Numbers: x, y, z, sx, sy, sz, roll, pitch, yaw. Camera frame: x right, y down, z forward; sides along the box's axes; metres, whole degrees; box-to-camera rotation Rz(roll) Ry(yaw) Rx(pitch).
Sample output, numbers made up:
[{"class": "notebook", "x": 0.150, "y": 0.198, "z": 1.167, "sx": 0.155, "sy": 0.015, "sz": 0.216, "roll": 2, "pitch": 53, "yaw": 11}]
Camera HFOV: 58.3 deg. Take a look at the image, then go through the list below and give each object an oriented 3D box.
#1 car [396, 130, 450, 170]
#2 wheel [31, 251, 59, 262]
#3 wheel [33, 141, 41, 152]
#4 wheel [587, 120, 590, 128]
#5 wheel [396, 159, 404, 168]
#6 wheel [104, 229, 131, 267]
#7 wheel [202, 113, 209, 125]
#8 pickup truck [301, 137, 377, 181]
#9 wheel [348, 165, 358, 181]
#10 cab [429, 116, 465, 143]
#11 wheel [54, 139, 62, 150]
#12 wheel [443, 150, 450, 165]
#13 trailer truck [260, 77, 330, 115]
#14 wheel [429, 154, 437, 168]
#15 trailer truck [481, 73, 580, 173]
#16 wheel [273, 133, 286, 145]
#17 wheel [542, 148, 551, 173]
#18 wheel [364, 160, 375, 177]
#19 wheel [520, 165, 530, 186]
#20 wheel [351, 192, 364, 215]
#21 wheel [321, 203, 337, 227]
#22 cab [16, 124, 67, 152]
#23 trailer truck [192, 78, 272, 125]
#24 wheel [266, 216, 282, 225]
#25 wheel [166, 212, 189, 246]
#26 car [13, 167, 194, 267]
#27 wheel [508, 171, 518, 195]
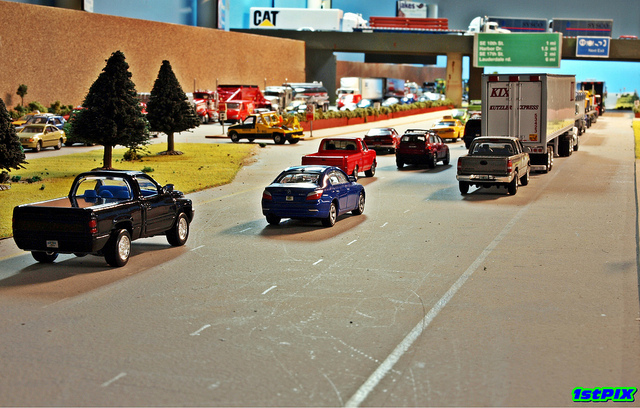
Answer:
[{"class": "car", "x": 6.131, "y": -3.383, "z": 34.040, "sx": 1.713, "sy": 1.620, "sz": 3.321, "roll": 3, "pitch": 14, "yaw": 23}, {"class": "wheel", "x": -6.865, "y": 1.273, "z": 14.400, "sx": 0.536, "sy": 0.368, "sz": 0.576, "roll": 0, "pitch": 11, "yaw": 0}, {"class": "wheel", "x": -19.109, "y": -3.923, "z": 38.940, "sx": 0.235, "sy": 0.765, "sz": 0.745, "roll": -1, "pitch": -2, "yaw": 9}, {"class": "wheel", "x": 29.806, "y": -8.948, "z": 63.971, "sx": 0.175, "sy": 0.791, "sz": 1.893, "roll": 5, "pitch": 12, "yaw": 26}, {"class": "wheel", "x": 4.683, "y": -2.406, "z": 33.619, "sx": 0.446, "sy": 0.533, "sz": 0.907, "roll": 1, "pitch": 11, "yaw": 7}, {"class": "wheel", "x": -4.930, "y": 1.048, "z": 13.994, "sx": 0.267, "sy": 0.863, "sz": 0.844, "roll": 1, "pitch": -7, "yaw": 19}, {"class": "wheel", "x": -12.391, "y": -9.343, "z": 63.128, "sx": 0.238, "sy": 0.989, "sz": 1.049, "roll": 11, "pitch": 27, "yaw": 4}, {"class": "pickup truck", "x": 0.911, "y": -2.267, "z": 27.921, "sx": 1.788, "sy": 1.526, "sz": 3.659, "roll": 3, "pitch": 12, "yaw": 24}, {"class": "wheel", "x": 1.461, "y": -1.432, "z": 25.701, "sx": 0.291, "sy": 0.880, "sz": 0.864, "roll": -2, "pitch": -4, "yaw": 29}, {"class": "cab", "x": 11.627, "y": -6.732, "z": 51.788, "sx": 2.274, "sy": 2.085, "sz": 4.946, "roll": 4, "pitch": 14, "yaw": 24}, {"class": "wheel", "x": -18.625, "y": -4.265, "z": 40.933, "sx": 0.244, "sy": 0.691, "sz": 0.675, "roll": -3, "pitch": -12, "yaw": 21}, {"class": "wheel", "x": 7.743, "y": -2.856, "z": 35.352, "sx": 0.318, "sy": 0.935, "sz": 0.916, "roll": 4, "pitch": 3, "yaw": 8}, {"class": "trailer truck", "x": -3.114, "y": -15.132, "z": 80.380, "sx": 10.288, "sy": 4.334, "sz": 4.147, "roll": -9, "pitch": 18, "yaw": -33}, {"class": "wheel", "x": 6.516, "y": -2.546, "z": 33.336, "sx": 0.234, "sy": 0.772, "sz": 0.761, "roll": 2, "pitch": 7, "yaw": 18}, {"class": "trailer truck", "x": 12.247, "y": -4.897, "z": 33.035, "sx": 3.257, "sy": 4.875, "sz": 11.471, "roll": 3, "pitch": 12, "yaw": 31}, {"class": "wheel", "x": -3.277, "y": -5.400, "z": 47.082, "sx": 0.850, "sy": 0.909, "sz": 0.295, "roll": 3, "pitch": 6, "yaw": 39}, {"class": "wheel", "x": 11.809, "y": -2.304, "z": 30.157, "sx": 0.325, "sy": 1.022, "sz": 1.018, "roll": -3, "pitch": 21, "yaw": 11}, {"class": "wheel", "x": 2.546, "y": -1.873, "z": 29.642, "sx": 0.268, "sy": 0.883, "sz": 0.869, "roll": 3, "pitch": 2, "yaw": 26}, {"class": "wheel", "x": 9.302, "y": -1.303, "z": 26.257, "sx": 0.324, "sy": 0.966, "sz": 0.951, "roll": 0, "pitch": 2, "yaw": 22}, {"class": "wheel", "x": 1.296, "y": -0.037, "z": 20.086, "sx": 0.235, "sy": 0.764, "sz": 0.751, "roll": -2, "pitch": -2, "yaw": 24}, {"class": "wheel", "x": 0.268, "y": 0.322, "z": 18.294, "sx": 0.236, "sy": 0.692, "sz": 0.683, "roll": 0, "pitch": 6, "yaw": 20}, {"class": "cab", "x": -19.738, "y": -4.798, "z": 40.492, "sx": 1.925, "sy": 1.720, "sz": 4.808, "roll": 4, "pitch": 9, "yaw": 3}, {"class": "trailer truck", "x": -10.332, "y": -11.942, "z": 65.140, "sx": 8.147, "sy": 4.024, "sz": 5.688, "roll": -6, "pitch": 14, "yaw": -23}, {"class": "wheel", "x": -1.491, "y": 0.389, "z": 18.635, "sx": 0.222, "sy": 0.576, "sz": 0.567, "roll": 3, "pitch": 2, "yaw": 23}, {"class": "wheel", "x": -3.962, "y": 0.682, "z": 15.967, "sx": 0.277, "sy": 0.834, "sz": 0.815, "roll": -1, "pitch": -9, "yaw": 21}, {"class": "car", "x": -5.273, "y": 0.330, "z": 15.007, "sx": 2.022, "sy": 1.649, "sz": 3.943, "roll": 5, "pitch": 14, "yaw": 24}, {"class": "wheel", "x": 7.978, "y": -0.927, "z": 23.868, "sx": 0.302, "sy": 0.906, "sz": 0.894, "roll": 0, "pitch": 7, "yaw": 20}]
